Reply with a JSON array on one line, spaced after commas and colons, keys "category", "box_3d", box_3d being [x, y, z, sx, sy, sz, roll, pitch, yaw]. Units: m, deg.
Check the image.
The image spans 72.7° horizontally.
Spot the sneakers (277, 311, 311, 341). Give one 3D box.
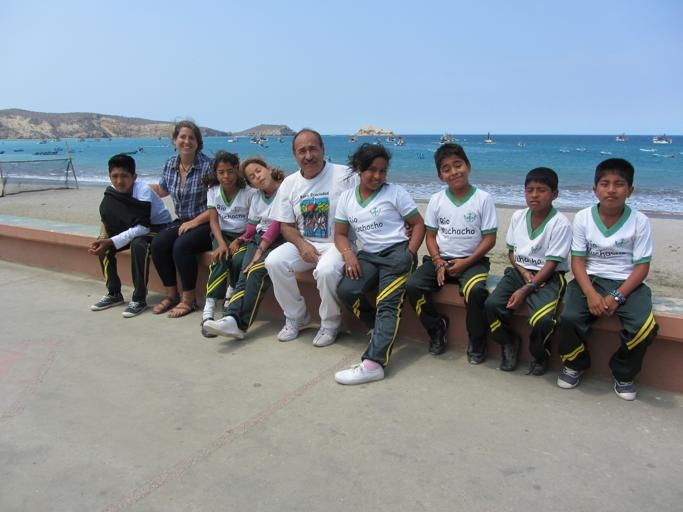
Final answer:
[{"category": "sneakers", "box_3d": [-0.421, 0.642, 4.311, 0.154, 0.209, 0.431, 8, 13, 35]}]

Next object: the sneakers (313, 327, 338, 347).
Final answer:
[{"category": "sneakers", "box_3d": [-0.135, 0.721, 4.118, 0.117, 0.088, 0.242, 7, 10, 31]}]

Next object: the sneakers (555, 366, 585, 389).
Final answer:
[{"category": "sneakers", "box_3d": [1.638, 0.886, 3.308, 0.090, 0.106, 0.273, 9, -2, 41]}]

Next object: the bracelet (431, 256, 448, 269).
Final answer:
[{"category": "bracelet", "box_3d": [0.822, 0.063, 3.879, 0.096, 0.079, 0.077, -20, 21, -34]}]

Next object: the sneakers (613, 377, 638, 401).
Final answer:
[{"category": "sneakers", "box_3d": [1.956, 0.919, 3.181, 0.136, 0.116, 0.111, 6, 13, 29]}]

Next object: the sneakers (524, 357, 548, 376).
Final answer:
[{"category": "sneakers", "box_3d": [1.478, 0.840, 3.504, 0.173, 0.156, 0.103, -2, 4, 11]}]

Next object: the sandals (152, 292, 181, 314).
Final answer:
[{"category": "sandals", "box_3d": [-1.873, 0.511, 4.992, 0.133, 0.126, 0.341, 5, 12, 18]}]

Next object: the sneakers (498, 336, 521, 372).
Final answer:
[{"category": "sneakers", "box_3d": [1.318, 0.777, 3.665, 0.153, 0.320, 0.123, 7, 3, -28]}]

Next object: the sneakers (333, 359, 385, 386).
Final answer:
[{"category": "sneakers", "box_3d": [0.147, 0.871, 3.493, 0.424, 0.150, 0.147, -2, 10, -10]}]

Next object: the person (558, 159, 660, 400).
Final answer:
[{"category": "person", "box_3d": [1.935, 0.131, 3.312, 0.595, 1.620, 0.641, 5, 13, 27]}]

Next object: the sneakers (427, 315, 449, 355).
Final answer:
[{"category": "sneakers", "box_3d": [0.821, 0.655, 3.915, 0.154, 0.331, 0.130, 6, 3, -45]}]

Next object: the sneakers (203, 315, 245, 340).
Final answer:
[{"category": "sneakers", "box_3d": [-1.009, 0.625, 4.023, 0.154, 0.152, 0.372, -8, -22, 44]}]

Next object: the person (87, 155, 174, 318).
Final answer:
[{"category": "person", "box_3d": [-2.332, -0.272, 5.071, 0.809, 1.674, 0.881, 5, 13, 25]}]

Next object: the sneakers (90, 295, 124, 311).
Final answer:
[{"category": "sneakers", "box_3d": [-2.513, 0.514, 4.996, 0.111, 0.122, 0.336, 16, 13, 38]}]

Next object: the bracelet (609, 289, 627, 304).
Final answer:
[{"category": "bracelet", "box_3d": [1.924, 0.282, 3.241, 0.077, 0.091, 0.102, -41, -22, 30]}]

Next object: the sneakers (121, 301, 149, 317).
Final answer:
[{"category": "sneakers", "box_3d": [-2.150, 0.564, 4.854, 0.111, 0.105, 0.285, 0, 0, 12]}]
